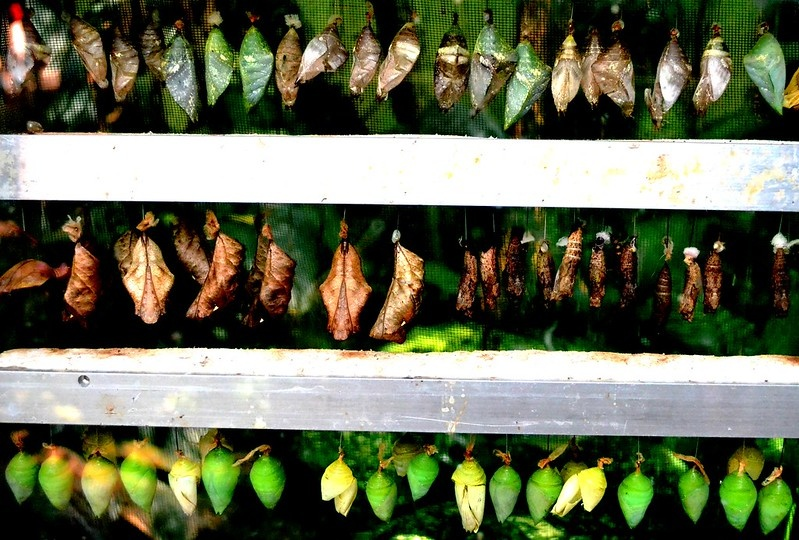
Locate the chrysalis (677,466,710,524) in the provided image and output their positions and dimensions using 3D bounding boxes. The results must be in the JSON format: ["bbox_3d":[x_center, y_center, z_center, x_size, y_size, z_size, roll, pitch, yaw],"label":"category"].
[{"bbox_3d":[0.854,0.658,2.771,0.081,0.172,0.093,5,19,18],"label":"chrysalis"}]

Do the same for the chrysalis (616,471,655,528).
[{"bbox_3d":[0.686,0.680,2.771,0.098,0.216,0.095,-4,18,-7],"label":"chrysalis"}]

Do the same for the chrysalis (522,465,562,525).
[{"bbox_3d":[0.423,0.635,2.773,0.099,0.193,0.057,16,15,12],"label":"chrysalis"}]

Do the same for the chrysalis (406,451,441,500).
[{"bbox_3d":[0.076,0.586,2.781,0.074,0.146,0.040,23,14,28],"label":"chrysalis"}]

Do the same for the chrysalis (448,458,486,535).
[{"bbox_3d":[0.208,0.648,2.783,0.095,0.210,0.101,0,18,5],"label":"chrysalis"}]

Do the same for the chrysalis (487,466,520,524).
[{"bbox_3d":[0.313,0.668,2.795,0.096,0.179,0.089,-4,8,-40],"label":"chrysalis"}]

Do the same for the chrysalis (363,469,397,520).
[{"bbox_3d":[-0.045,0.656,2.788,0.063,0.157,0.090,-3,12,34],"label":"chrysalis"}]

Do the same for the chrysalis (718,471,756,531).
[{"bbox_3d":[0.980,0.663,2.741,0.108,0.185,0.086,3,19,13],"label":"chrysalis"}]
